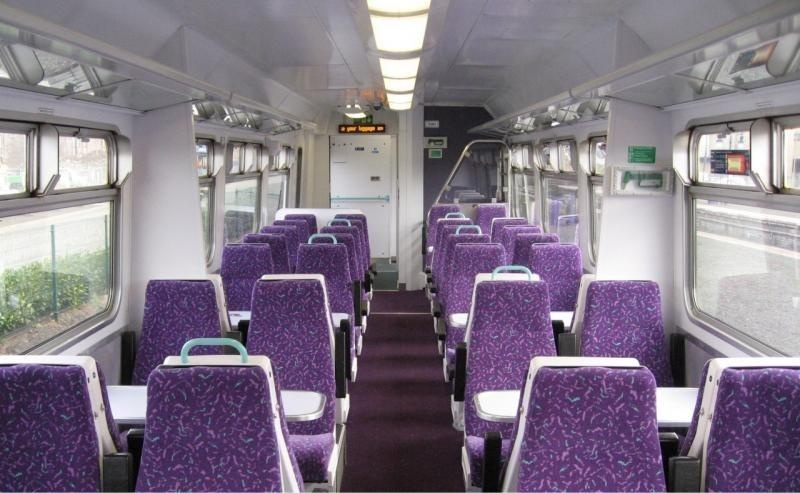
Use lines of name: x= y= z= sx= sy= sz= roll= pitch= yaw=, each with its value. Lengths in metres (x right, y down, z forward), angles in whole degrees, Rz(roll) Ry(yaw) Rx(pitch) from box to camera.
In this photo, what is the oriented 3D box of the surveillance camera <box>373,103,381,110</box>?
surveillance camera: x=-0.517 y=-3.214 z=11.759 sx=0.206 sy=0.054 sz=0.222 roll=-1 pitch=-9 yaw=-3
